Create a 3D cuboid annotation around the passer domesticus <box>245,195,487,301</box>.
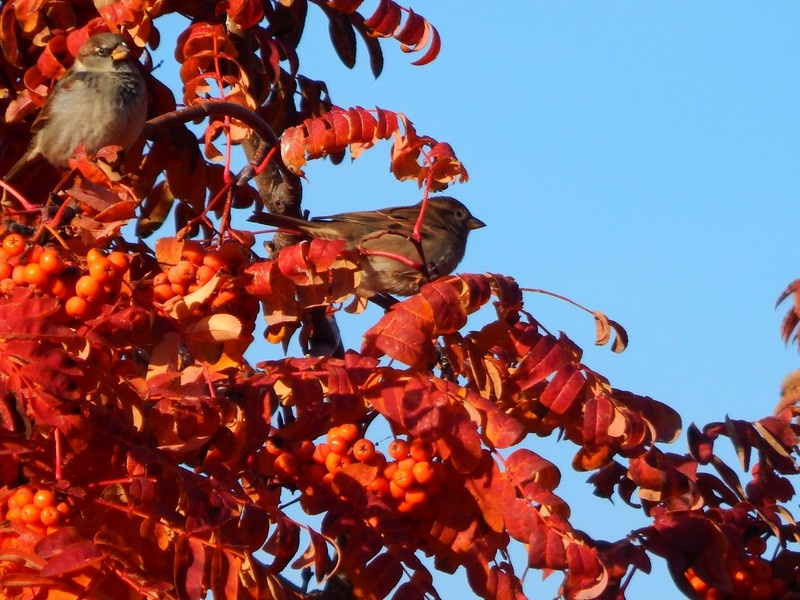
[{"bbox_3d":[-0.161,-0.273,8.217,1.101,0.499,0.350,5,-22,-12],"label":"passer domesticus"}]
